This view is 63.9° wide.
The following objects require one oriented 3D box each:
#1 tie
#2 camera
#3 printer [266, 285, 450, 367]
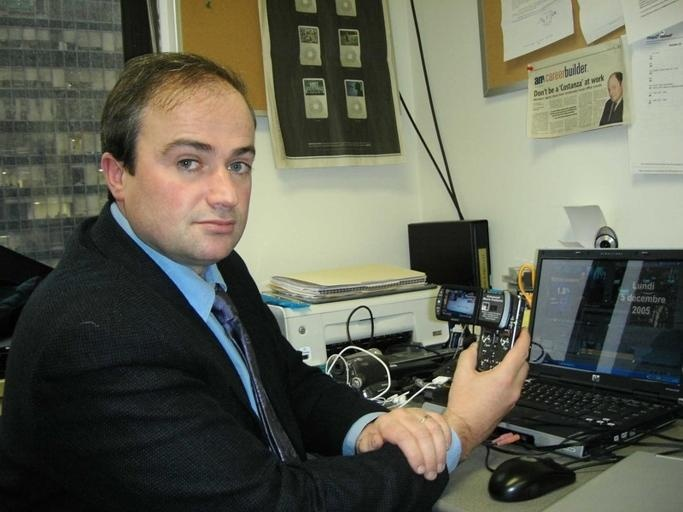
[{"bbox_3d":[-0.177,0.233,1.085,0.122,0.336,0.181,6,8,7],"label":"tie"},{"bbox_3d":[0.334,0.178,1.316,0.071,0.195,0.218,12,-4,-43],"label":"camera"},{"bbox_3d":[-0.015,0.151,1.834,0.601,0.200,0.447,-1,10,-29],"label":"printer"}]
